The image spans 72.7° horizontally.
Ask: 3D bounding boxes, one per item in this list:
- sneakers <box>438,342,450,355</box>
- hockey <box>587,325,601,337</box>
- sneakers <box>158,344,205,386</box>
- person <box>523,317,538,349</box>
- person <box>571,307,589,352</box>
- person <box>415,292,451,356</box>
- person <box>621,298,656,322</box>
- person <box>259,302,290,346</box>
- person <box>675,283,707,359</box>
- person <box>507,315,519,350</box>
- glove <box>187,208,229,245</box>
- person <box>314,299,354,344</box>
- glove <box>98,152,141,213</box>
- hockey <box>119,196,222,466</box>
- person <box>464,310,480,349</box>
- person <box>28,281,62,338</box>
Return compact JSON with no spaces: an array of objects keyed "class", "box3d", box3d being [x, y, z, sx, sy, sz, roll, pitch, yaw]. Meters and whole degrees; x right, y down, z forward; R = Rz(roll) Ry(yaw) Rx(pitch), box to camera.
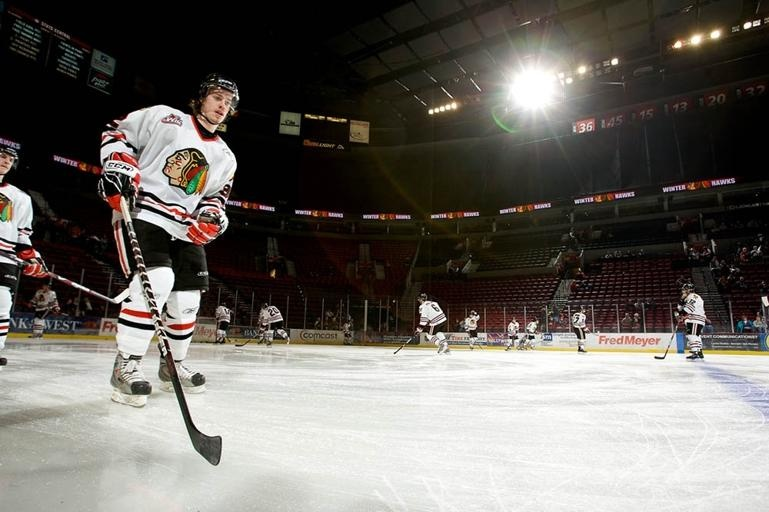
[{"class":"sneakers","box3d":[1.459,2.274,12.896,0.290,0.269,0.208,9,-20,9]},{"class":"hockey","box3d":[7.063,2.510,17.634,0.411,0.373,0.100,1,-18,42]},{"class":"sneakers","box3d":[-1.740,0.980,4.439,0.473,0.281,0.153,1,12,21]},{"class":"person","box3d":[5.130,2.690,18.231,0.439,1.085,1.042,1,-3,15]},{"class":"person","box3d":[6.161,2.304,16.414,0.397,1.360,2.929,1,-3,21]},{"class":"person","box3d":[1.259,1.753,13.723,0.808,1.540,2.502,2,-3,4]},{"class":"person","box3d":[8.394,1.786,17.090,0.816,0.725,0.198,-3,-7,35]},{"class":"person","box3d":[-3.456,2.085,15.774,0.934,0.987,2.318,-16,-10,-8]},{"class":"person","box3d":[6.493,1.369,10.999,0.488,1.611,1.422,1,-3,31]},{"class":"person","box3d":[4.601,2.757,18.532,0.354,1.087,1.205,1,-3,16]},{"class":"glove","box3d":[-1.525,-0.265,4.474,0.346,0.251,0.161,-25,16,-18]},{"class":"person","box3d":[-2.149,2.742,21.284,1.622,1.514,0.857,10,-18,-38]},{"class":"glove","box3d":[-2.104,-0.566,4.103,0.292,0.476,0.203,-3,6,-16]},{"class":"hockey","box3d":[-1.722,0.562,4.095,0.265,2.488,0.306,-36,-33,0]},{"class":"person","box3d":[3.164,2.698,18.938,0.447,1.437,2.285,2,-3,11]},{"class":"person","box3d":[-7.758,1.219,11.748,0.660,1.264,0.353,8,-8,6]}]
